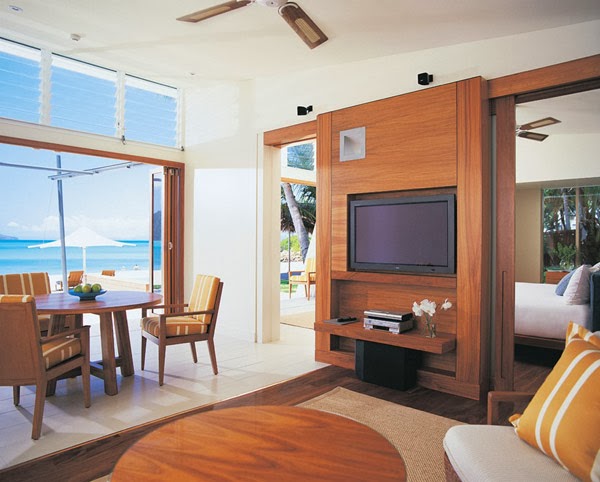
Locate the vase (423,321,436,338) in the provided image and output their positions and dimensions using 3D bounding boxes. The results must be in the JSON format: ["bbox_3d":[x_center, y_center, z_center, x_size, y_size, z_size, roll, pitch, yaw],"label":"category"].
[{"bbox_3d":[1.186,0.804,4.003,0.094,0.143,0.039,-14,-30,43],"label":"vase"}]

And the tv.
[{"bbox_3d":[0.999,-0.063,4.318,0.123,0.741,1.180,-2,2,-43],"label":"tv"}]

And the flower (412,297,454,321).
[{"bbox_3d":[1.215,0.634,4.021,0.349,0.244,0.392,2,3,18],"label":"flower"}]

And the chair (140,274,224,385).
[{"bbox_3d":[-1.177,0.833,4.368,0.716,0.860,0.683,-1,1,-28],"label":"chair"}]

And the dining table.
[{"bbox_3d":[-1.857,0.854,3.995,1.007,0.659,0.963,-1,-4,17],"label":"dining table"}]

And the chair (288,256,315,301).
[{"bbox_3d":[0.037,0.808,9.285,0.513,1.000,1.367,1,3,-1],"label":"chair"}]

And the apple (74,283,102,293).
[{"bbox_3d":[-1.942,0.436,4.083,0.159,0.063,0.151,0,-4,11],"label":"apple"}]
